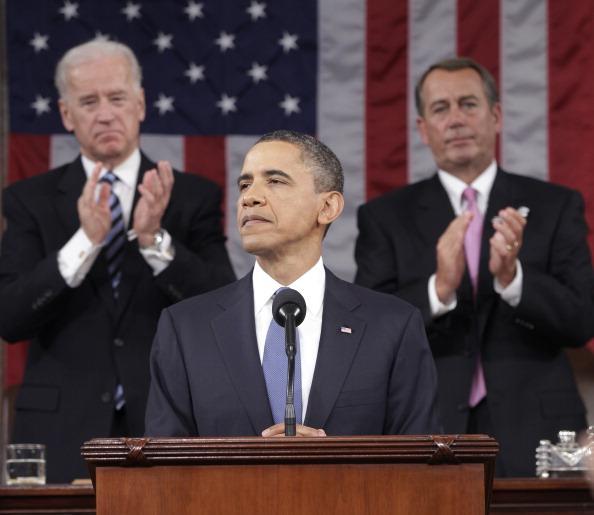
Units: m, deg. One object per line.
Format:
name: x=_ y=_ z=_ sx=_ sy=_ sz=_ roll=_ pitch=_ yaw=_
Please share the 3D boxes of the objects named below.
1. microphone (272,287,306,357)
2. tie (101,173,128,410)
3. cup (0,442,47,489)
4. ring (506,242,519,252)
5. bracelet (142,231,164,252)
microphone: x=-0.024 y=0.206 z=3.208 sx=0.089 sy=0.096 sz=0.315 roll=-10 pitch=-39 yaw=-2
tie: x=-0.863 y=0.116 z=4.679 sx=0.098 sy=1.231 sz=0.121 roll=-3 pitch=-3 yaw=3
cup: x=-1.234 y=0.949 z=4.414 sx=0.153 sy=0.223 sz=0.182 roll=0 pitch=-9 yaw=-1
ring: x=1.003 y=-0.054 z=4.490 sx=0.064 sy=0.033 sz=0.048 roll=4 pitch=-18 yaw=-16
bracelet: x=-0.671 y=-0.072 z=4.604 sx=0.075 sy=0.066 sz=0.101 roll=1 pitch=-11 yaw=-27
